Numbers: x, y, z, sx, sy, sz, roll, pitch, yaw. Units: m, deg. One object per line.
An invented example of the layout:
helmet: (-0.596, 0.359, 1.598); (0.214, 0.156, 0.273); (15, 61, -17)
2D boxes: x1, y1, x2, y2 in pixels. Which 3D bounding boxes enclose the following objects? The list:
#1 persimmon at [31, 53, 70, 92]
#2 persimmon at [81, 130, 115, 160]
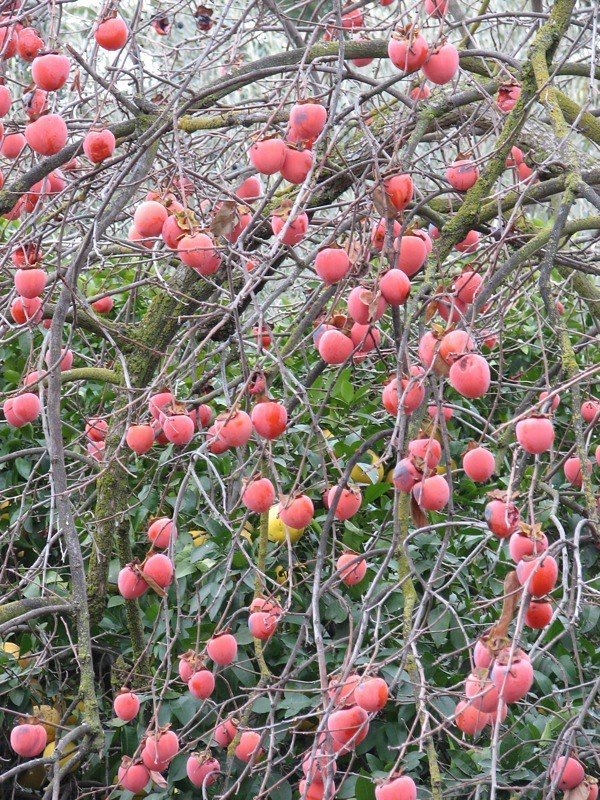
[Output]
persimmon: (-0.440, -0.577, 1.930); (0.069, 0.066, 0.066); (2, 3, -14)
persimmon: (-0.378, -0.472, 2.046); (0.055, 0.066, 0.100); (13, 16, -14)
